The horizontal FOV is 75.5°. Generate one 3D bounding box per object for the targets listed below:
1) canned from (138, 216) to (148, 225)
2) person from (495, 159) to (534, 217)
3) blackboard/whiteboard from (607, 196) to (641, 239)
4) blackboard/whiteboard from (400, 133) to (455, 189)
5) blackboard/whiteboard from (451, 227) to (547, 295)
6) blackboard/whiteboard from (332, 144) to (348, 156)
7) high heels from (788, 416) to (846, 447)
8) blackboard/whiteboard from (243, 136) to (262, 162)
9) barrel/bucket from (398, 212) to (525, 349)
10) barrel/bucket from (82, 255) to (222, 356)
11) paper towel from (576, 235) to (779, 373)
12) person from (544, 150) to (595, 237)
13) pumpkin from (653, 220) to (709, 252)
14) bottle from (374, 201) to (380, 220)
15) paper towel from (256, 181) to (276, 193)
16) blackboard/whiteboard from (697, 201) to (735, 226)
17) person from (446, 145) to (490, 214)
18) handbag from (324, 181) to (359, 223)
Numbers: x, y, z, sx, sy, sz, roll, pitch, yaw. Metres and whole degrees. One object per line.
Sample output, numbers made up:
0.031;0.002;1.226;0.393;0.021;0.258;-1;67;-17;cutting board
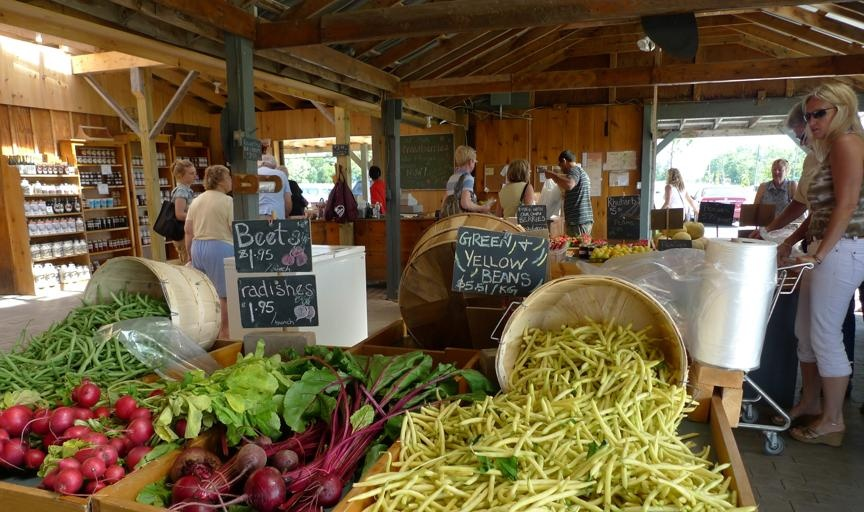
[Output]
-5.304;-0.649;10.232;0.170;0.159;0.162;-2;-6;-3;canned
0.952;-0.763;6.354;0.393;0.654;0.737;0;8;7;person
1.971;-0.386;5.712;0.438;0.570;0.063;2;20;24;blackboard/whiteboard
-0.082;-1.910;11.429;1.176;1.104;0.201;2;9;21;blackboard/whiteboard
0.393;0.037;3.234;0.424;0.299;0.034;2;1;1;blackboard/whiteboard
-1.422;-1.636;8.685;0.319;0.217;0.048;0;-4;10;blackboard/whiteboard
2.894;1.327;4.185;0.380;0.143;0.216;6;9;44;high heels
-1.676;-0.986;5.213;0.077;0.206;0.261;2;8;16;blackboard/whiteboard
0.162;0.147;3.890;0.834;0.858;0.310;-9;1;22;barrel/bucket
-1.678;0.247;3.597;0.623;0.678;0.510;-2;18;20;barrel/bucket
1.513;0.236;3.276;0.863;0.558;0.934;0;2;-21;paper towel
1.602;-0.720;6.518;0.526;0.987;0.923;1;8;14;person
2.292;-0.172;5.118;0.445;0.207;0.534;-4;9;45;pumpkin
-0.854;-0.691;8.739;0.109;0.212;0.315;-2;7;-6;bottle
-1.783;-0.737;6.030;0.145;0.120;0.789;-3;7;-18;paper towel
2.923;-0.422;5.735;0.312;0.243;0.314;3;8;23;blackboard/whiteboard
0.429;-0.898;6.704;0.476;0.798;0.618;-2;8;-12;person
-1.359;-0.802;8.323;0.469;0.615;0.232;-2;8;-7;handbag
